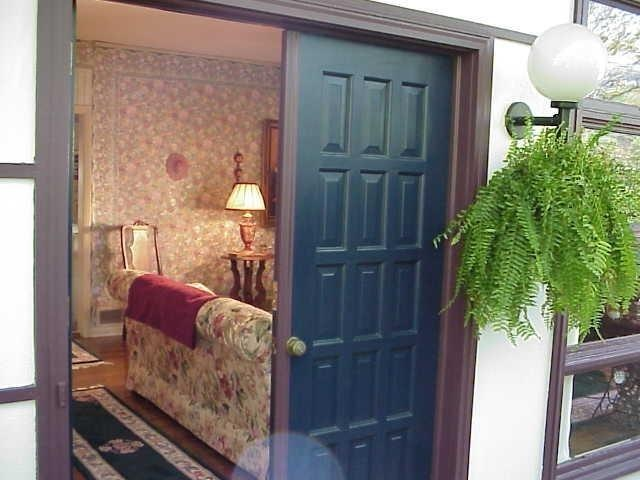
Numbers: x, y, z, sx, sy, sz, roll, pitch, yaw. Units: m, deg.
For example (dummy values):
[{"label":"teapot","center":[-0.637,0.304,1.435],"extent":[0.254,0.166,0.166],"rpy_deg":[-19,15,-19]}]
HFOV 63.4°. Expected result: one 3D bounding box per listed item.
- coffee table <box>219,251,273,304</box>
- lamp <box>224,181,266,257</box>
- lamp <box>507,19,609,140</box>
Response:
[{"label":"coffee table","center":[-0.909,0.516,6.554],"extent":[0.557,0.666,0.580],"rpy_deg":[0,0,-8]},{"label":"lamp","center":[-0.948,-0.272,6.474],"extent":[0.467,0.902,0.662],"rpy_deg":[-1,8,-10]},{"label":"lamp","center":[1.029,-0.620,2.262],"extent":[0.371,0.562,0.305],"rpy_deg":[3,10,37]}]
